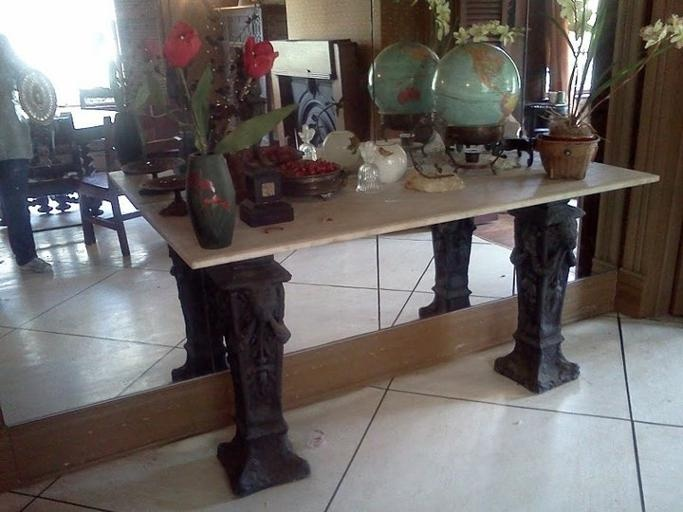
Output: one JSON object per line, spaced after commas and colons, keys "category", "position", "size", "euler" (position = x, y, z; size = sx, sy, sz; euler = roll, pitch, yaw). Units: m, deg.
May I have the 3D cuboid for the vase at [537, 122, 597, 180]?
{"category": "vase", "position": [0.971, -0.491, 2.411], "size": [0.243, 0.259, 0.257], "euler": [6, 21, 19]}

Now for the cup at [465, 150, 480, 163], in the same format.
{"category": "cup", "position": [0.590, -0.455, 2.444], "size": [0.061, 0.040, 0.060], "euler": [-3, 23, 1]}

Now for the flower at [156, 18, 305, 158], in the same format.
{"category": "flower", "position": [-0.463, -0.612, 2.072], "size": [0.372, 0.446, 0.453], "euler": [-8, 24, -30]}

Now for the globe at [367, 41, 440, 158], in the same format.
{"category": "globe", "position": [0.312, -0.810, 2.595], "size": [0.493, 0.424, 0.481], "euler": [-7, 23, -4]}

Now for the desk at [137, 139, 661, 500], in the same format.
{"category": "desk", "position": [0.063, 0.156, 2.362], "size": [1.636, 1.311, 0.718], "euler": [-12, 22, -21]}

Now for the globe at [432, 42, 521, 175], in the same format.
{"category": "globe", "position": [0.615, -0.690, 2.522], "size": [0.404, 0.594, 0.419], "euler": [2, 26, 10]}

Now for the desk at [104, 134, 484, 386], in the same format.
{"category": "desk", "position": [-0.212, -0.231, 2.181], "size": [1.688, 0.805, 0.880], "euler": [-14, 36, -23]}
